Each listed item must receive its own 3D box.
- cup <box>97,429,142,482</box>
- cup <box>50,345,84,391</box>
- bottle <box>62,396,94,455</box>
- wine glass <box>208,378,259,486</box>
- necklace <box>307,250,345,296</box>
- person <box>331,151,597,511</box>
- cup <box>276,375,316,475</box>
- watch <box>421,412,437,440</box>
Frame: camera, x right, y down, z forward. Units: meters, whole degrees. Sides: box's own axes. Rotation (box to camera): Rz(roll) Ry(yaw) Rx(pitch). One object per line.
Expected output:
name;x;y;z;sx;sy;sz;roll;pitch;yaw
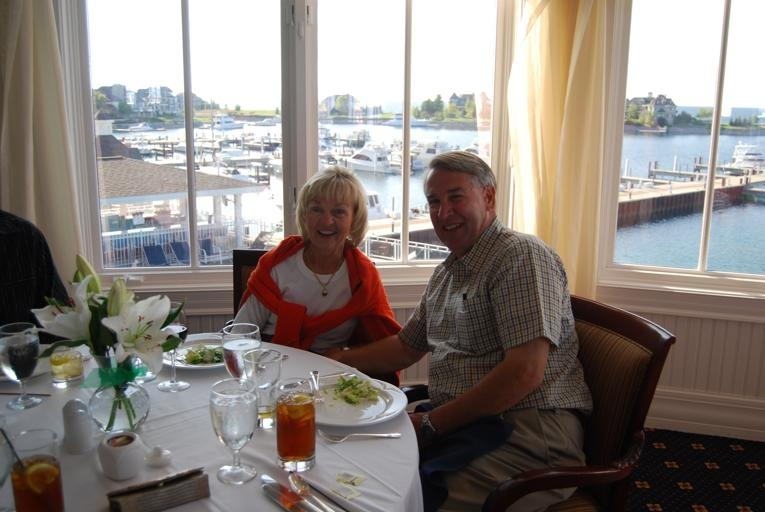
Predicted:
cup;-0.743;0.570;1.584;0.115;0.107;0.125;1;13;0
cup;-1.100;0.397;1.959;0.128;0.151;0.135;4;8;-1
bottle;-0.932;0.507;1.650;0.086;0.154;0.129;-8;14;-31
wine glass;-0.427;0.498;1.567;0.125;0.272;0.172;-5;12;-19
necklace;-0.265;0.091;2.567;0.138;0.201;0.063;2;-6;-2
person;0.437;0.532;2.717;1.117;1.637;1.091;10;-20;-21
cup;-0.256;0.498;1.588;0.114;0.254;0.091;-3;12;-13
watch;0.173;0.644;2.030;0.057;0.070;0.073;2;-2;0
